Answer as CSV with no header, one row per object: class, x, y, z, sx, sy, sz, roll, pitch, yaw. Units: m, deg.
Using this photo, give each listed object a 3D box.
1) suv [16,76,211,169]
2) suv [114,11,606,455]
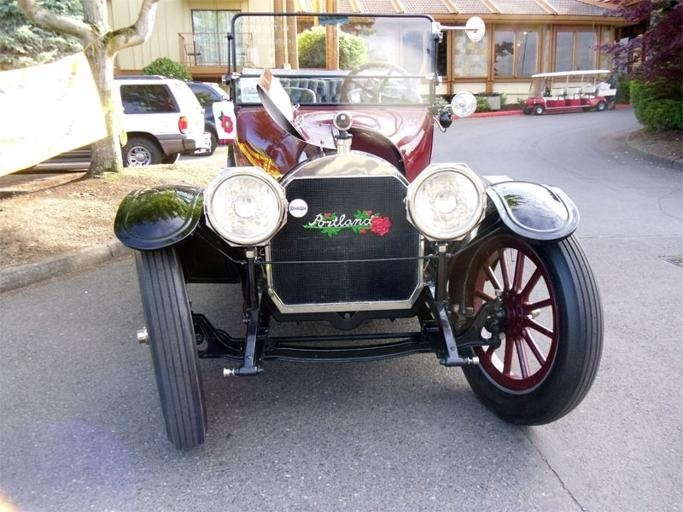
suv,-5.158,-3.235,12.834,3.878,2.127,2.286,0,15,-8
suv,-0.042,-0.717,4.885,2.537,2.833,4.410,-1,12,-5
